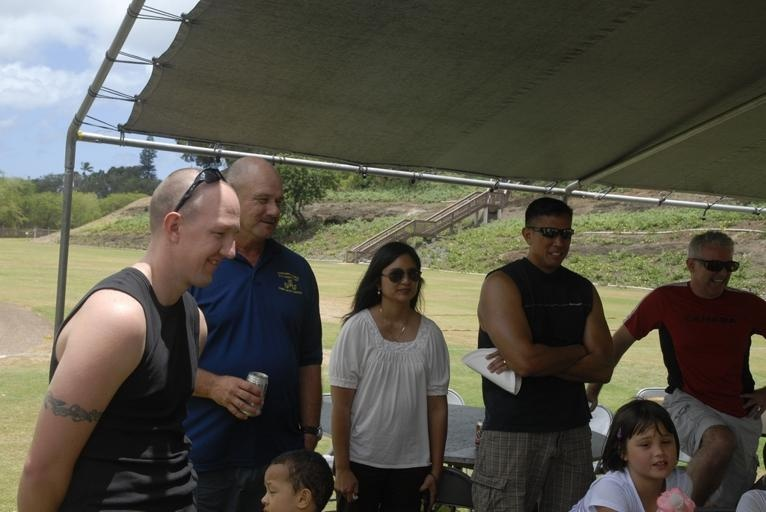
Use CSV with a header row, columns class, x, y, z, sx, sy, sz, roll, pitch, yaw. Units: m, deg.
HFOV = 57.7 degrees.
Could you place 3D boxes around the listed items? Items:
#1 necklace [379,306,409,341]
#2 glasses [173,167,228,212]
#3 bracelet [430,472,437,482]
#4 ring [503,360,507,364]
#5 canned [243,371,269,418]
class,x,y,z,sx,sy,sz,roll,pitch,yaw
necklace,0.069,0.469,4.759,0.184,0.209,0.057,-1,-11,-8
glasses,-0.857,-0.289,3.353,0.234,0.067,0.196,-33,19,1
bracelet,0.334,1.479,4.623,0.053,0.039,0.030,22,-21,-34
ring,0.832,0.719,4.689,0.036,0.029,0.019,-1,-6,0
canned,-0.748,0.816,4.121,0.150,0.260,0.085,7,-14,-33
